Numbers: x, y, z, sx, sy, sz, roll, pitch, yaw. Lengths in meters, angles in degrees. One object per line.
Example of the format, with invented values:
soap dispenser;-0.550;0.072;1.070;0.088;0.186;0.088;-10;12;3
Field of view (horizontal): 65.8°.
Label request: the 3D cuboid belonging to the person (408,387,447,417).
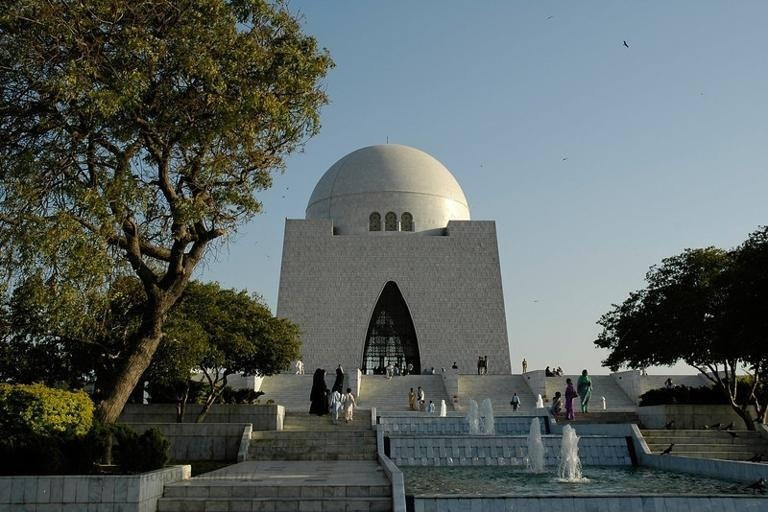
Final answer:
person;1.516;5.357;21.901;0.757;0.915;2.478;1;-3;-6
